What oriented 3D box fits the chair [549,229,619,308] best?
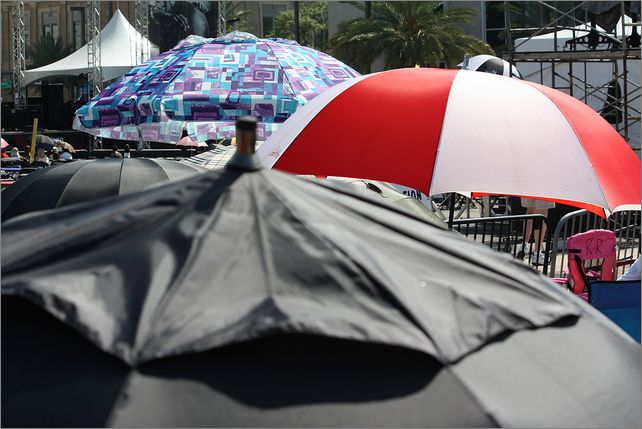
[{"bbox_3d":[2.850,0.554,7.305,0.487,0.900,0.698,-1,9,12],"label":"chair"}]
